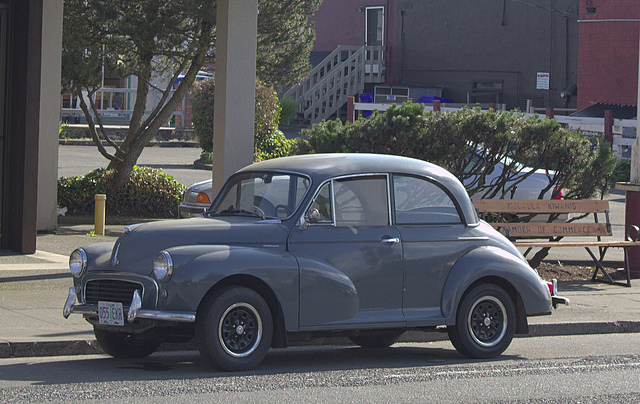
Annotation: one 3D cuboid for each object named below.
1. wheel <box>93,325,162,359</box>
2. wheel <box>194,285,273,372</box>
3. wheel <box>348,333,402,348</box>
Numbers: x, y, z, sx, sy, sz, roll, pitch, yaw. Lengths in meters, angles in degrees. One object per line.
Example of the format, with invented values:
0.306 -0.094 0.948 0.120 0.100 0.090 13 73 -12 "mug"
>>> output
-3.254 2.326 17.262 1.048 0.624 0.179 -5 8 -21 "wheel"
-1.389 1.952 16.378 0.901 1.028 0.309 -32 12 -15 "wheel"
0.982 2.451 18.350 0.902 0.300 0.405 -2 8 2 "wheel"
